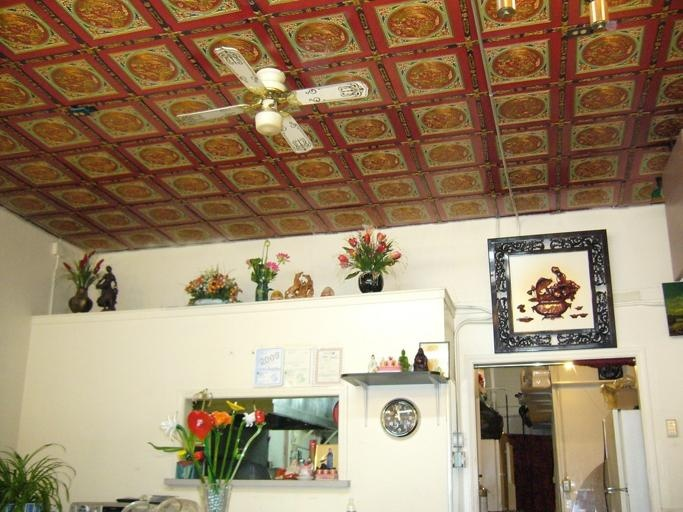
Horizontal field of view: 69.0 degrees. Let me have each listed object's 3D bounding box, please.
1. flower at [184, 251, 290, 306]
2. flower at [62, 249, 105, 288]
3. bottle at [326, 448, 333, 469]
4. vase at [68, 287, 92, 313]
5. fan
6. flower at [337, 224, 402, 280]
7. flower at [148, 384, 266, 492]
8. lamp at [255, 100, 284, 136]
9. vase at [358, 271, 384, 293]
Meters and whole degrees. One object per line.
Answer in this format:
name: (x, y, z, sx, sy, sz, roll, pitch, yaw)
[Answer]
flower: (-1.352, 0.340, 6.215, 1.385, 0.502, 0.624, -5, -24, 17)
flower: (-3.487, 0.230, 6.692, 0.334, 0.291, 0.319, 21, -20, -23)
bottle: (-0.136, 2.145, 5.231, 0.078, 0.182, 0.030, 1, -20, -2)
vase: (-3.509, 0.607, 6.602, 0.381, 0.338, 0.298, 5, -23, -16)
fan: (-0.469, -0.996, 3.197, 1.005, 0.334, 0.935, 9, -21, -32)
flower: (0.289, 0.022, 5.731, 0.533, 0.448, 0.597, -8, -10, 34)
flower: (-0.863, 1.334, 3.447, 0.691, 0.523, 0.587, 4, -7, -11)
lamp: (-0.478, -0.945, 3.274, 0.185, 0.185, 0.156, 12, -23, -24)
vase: (0.311, 0.313, 5.655, 0.281, 0.202, 0.268, 12, -18, -38)
